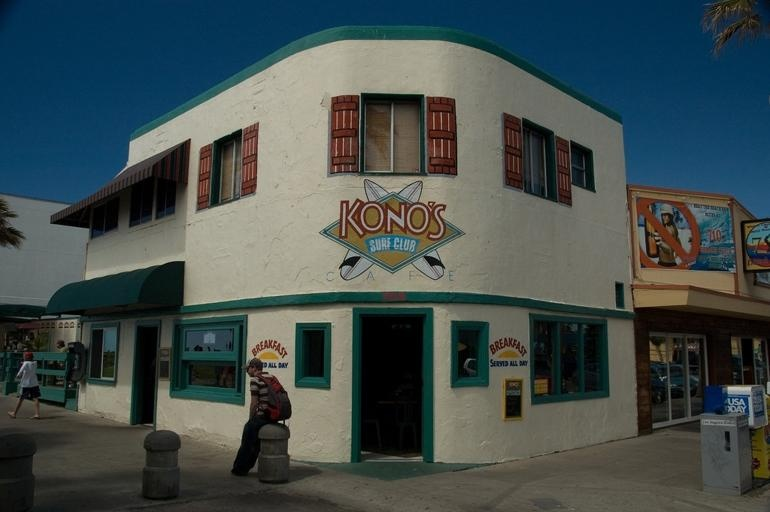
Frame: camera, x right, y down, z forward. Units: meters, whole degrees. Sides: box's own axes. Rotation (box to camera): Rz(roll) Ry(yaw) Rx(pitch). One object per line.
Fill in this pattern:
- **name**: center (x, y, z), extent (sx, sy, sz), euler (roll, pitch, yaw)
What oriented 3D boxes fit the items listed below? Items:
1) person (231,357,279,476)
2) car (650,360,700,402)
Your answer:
- **person**: center (-2.885, 3.655, 14.558), extent (0.915, 2.654, 0.555), euler (1, 0, 30)
- **car**: center (9.846, 4.251, 21.999), extent (2.440, 1.202, 1.325), euler (8, -16, -20)
